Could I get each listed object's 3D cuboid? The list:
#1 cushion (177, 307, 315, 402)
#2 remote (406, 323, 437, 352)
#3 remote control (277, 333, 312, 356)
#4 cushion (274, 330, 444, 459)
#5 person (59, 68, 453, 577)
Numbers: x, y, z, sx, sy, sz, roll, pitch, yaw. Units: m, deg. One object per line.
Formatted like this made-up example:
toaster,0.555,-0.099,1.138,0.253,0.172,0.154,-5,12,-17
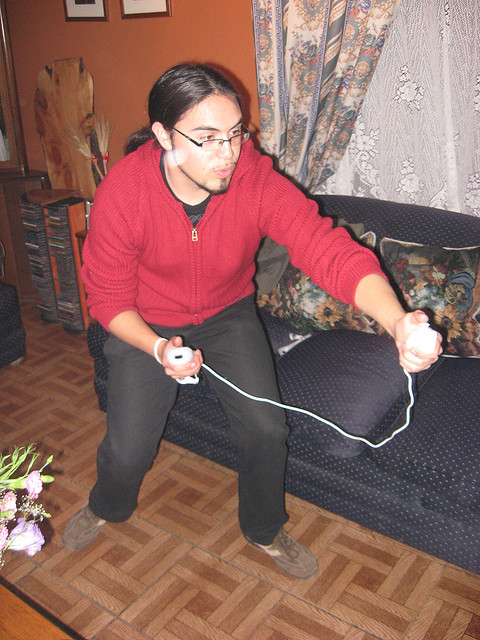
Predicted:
cushion,0.039,0.168,1.883,0.390,0.299,0.360,-41,65,-12
remote,0.312,0.029,0.849,0.033,0.032,0.047,-3,24,-18
remote control,0.193,0.091,1.799,0.105,0.041,0.018,-25,56,-14
cushion,0.332,0.260,1.575,0.395,0.110,0.415,22,57,39
person,-0.064,0.070,1.395,0.855,1.384,0.679,9,23,11
